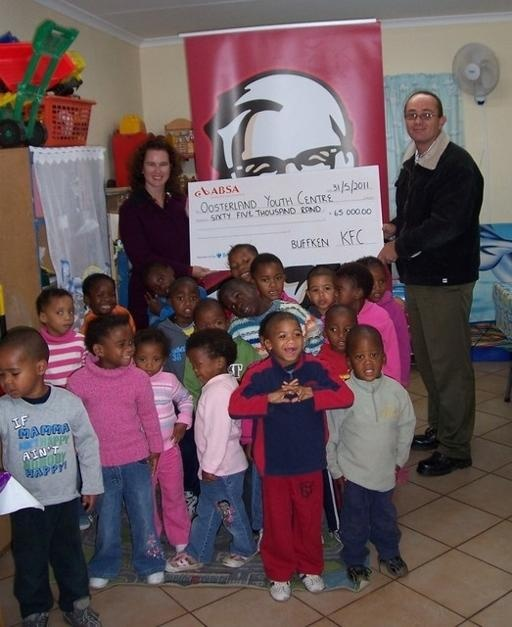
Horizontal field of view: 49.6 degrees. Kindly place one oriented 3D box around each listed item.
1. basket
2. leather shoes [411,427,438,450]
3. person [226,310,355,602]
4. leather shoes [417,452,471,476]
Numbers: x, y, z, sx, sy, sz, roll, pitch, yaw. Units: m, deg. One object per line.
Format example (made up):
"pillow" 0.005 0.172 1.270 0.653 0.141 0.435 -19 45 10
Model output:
"basket" -0.963 -0.929 2.660 0.239 0.194 0.302 18 24 23
"leather shoes" 0.921 0.695 3.031 0.187 0.068 0.078 4 3 -36
"person" 0.108 0.458 1.783 0.384 0.932 0.230 -5 9 -11
"leather shoes" 0.958 0.750 2.780 0.287 0.106 0.097 1 4 -12
